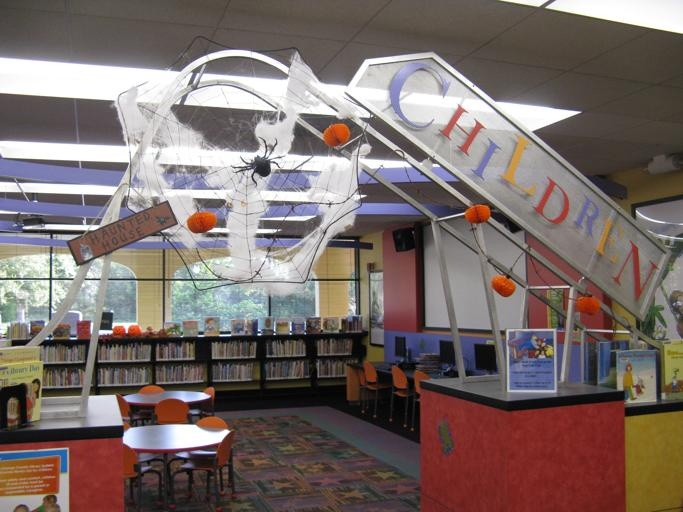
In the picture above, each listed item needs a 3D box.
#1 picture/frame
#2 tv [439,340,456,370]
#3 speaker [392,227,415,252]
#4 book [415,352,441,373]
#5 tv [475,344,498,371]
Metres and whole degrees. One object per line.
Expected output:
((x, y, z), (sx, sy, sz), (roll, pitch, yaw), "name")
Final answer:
((1.280, 0.724, 3.749), (0.421, 0.522, 0.043), (0, -3, -1), "picture/frame")
((1.790, 1.629, 9.264), (0.182, 0.433, 0.567), (0, -8, -10), "tv")
((1.161, -0.323, 10.602), (0.410, 0.438, 0.433), (0, 8, 21), "speaker")
((1.520, 1.825, 9.492), (0.299, 0.160, 0.320), (0, 2, -19), "book")
((2.139, 1.521, 8.217), (0.231, 0.426, 0.606), (-1, -8, -2), "tv")
